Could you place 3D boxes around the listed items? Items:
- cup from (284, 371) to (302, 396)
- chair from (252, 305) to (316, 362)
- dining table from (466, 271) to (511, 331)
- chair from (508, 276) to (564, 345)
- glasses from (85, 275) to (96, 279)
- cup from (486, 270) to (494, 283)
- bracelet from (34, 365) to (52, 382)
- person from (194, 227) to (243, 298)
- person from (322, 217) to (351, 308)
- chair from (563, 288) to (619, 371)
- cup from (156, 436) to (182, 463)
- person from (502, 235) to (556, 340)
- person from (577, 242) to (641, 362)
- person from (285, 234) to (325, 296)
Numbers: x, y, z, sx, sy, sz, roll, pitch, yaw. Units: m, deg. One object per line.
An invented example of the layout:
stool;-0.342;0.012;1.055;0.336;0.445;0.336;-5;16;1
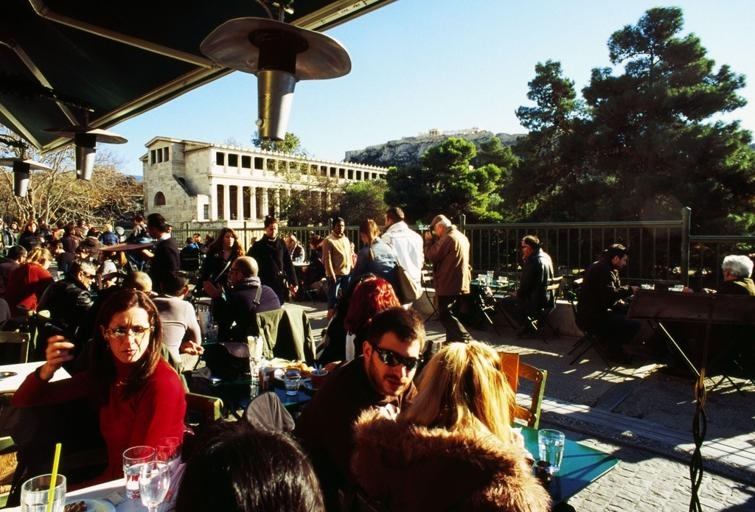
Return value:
cup;-0.803;1.198;4.865;0.188;0.214;0.189;0;6;0
chair;-1.239;1.024;6.632;0.681;0.794;0.674;-4;-4;-40
dining table;2.169;0.826;10.538;0.929;1.245;1.291;4;5;20
chair;3.102;1.004;10.267;1.122;1.532;1.040;1;1;24
glasses;-3.864;0.291;6.937;0.094;0.052;0.134;2;-1;-8
cup;2.383;0.442;10.820;0.159;0.249;0.158;-2;8;0
bracelet;-2.586;0.918;4.002;0.139;0.103;0.142;8;2;38
person;-2.918;0.233;9.828;0.741;1.671;0.538;1;26;-18
person;-0.800;0.157;10.685;0.571;1.861;0.936;-3;9;-4
chair;3.662;1.094;8.855;1.124;1.634;1.059;1;11;25
cup;-1.418;1.334;3.536;0.143;0.165;0.145;2;-8;0
person;2.845;0.586;9.583;0.858;1.897;0.486;0;9;18
person;3.813;0.753;8.452;0.933;1.863;0.833;2;10;27
person;-1.909;0.381;13.691;0.700;1.480;2.275;0;0;-11
